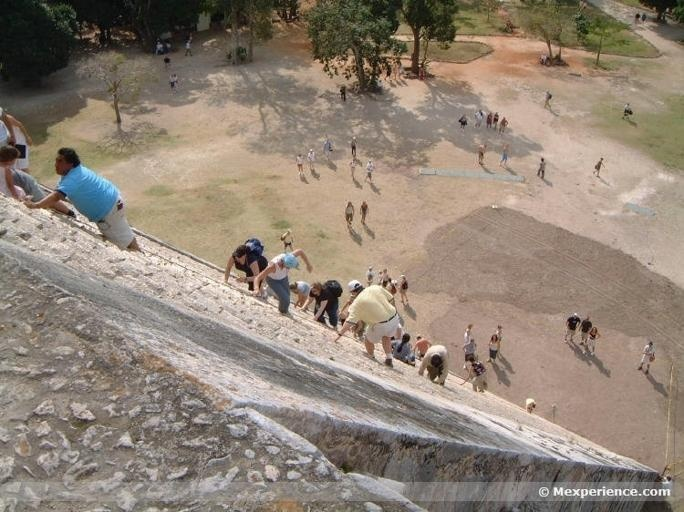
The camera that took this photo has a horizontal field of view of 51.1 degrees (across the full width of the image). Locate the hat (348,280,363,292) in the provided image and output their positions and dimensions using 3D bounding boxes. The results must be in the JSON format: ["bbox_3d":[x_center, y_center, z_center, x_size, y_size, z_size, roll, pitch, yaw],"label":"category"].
[{"bbox_3d":[0.571,1.004,23.376,0.522,0.849,0.392,0,87,-21],"label":"hat"}]
